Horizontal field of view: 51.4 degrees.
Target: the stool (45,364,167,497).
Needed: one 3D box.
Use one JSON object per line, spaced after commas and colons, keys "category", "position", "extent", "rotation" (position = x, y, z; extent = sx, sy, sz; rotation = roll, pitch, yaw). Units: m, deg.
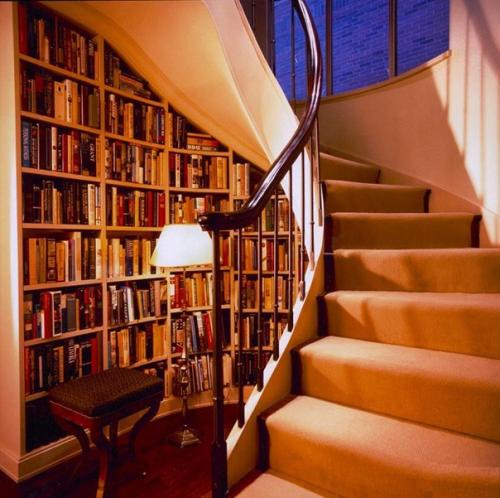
{"category": "stool", "position": [-0.794, 1.022, 2.945], "extent": [0.375, 0.598, 0.618], "rotation": [-3, -3, 42]}
